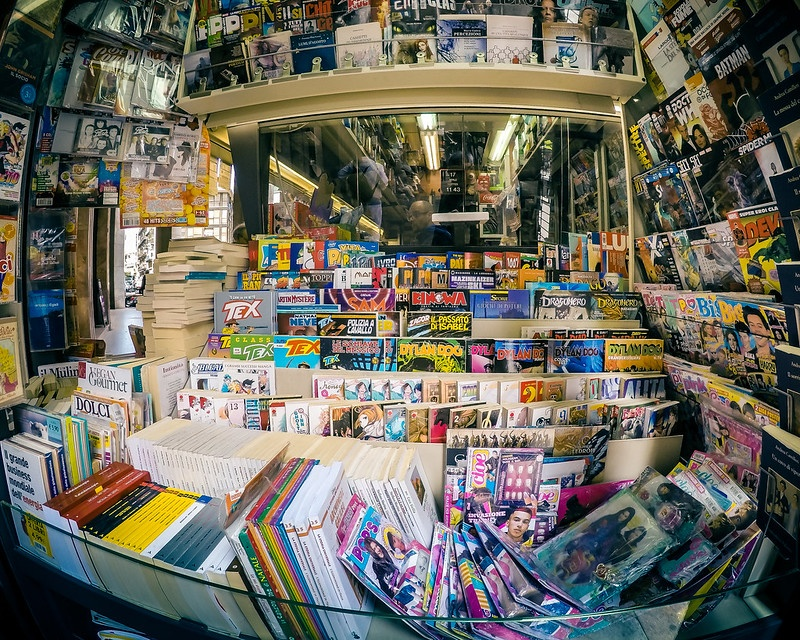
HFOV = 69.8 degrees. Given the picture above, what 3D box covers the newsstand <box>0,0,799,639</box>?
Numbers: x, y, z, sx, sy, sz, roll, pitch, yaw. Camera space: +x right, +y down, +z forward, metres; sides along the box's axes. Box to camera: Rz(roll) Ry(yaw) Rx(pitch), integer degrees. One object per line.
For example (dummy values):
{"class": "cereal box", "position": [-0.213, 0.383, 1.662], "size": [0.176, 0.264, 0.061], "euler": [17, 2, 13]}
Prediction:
{"class": "newsstand", "position": [0.002, -0.044, 2.751], "size": [2.621, 2.774, 1.116], "euler": [-1, -6, 0]}
